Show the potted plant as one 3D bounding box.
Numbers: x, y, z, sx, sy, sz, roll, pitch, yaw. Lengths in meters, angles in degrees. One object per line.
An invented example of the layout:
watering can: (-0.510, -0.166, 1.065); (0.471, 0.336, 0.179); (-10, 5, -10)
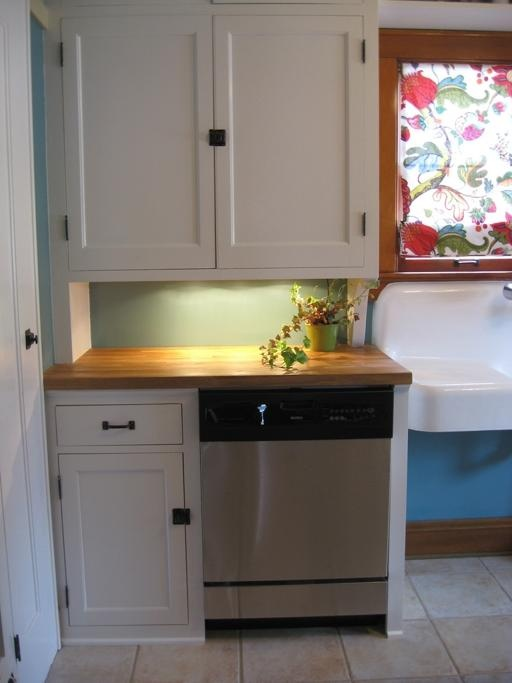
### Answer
potted plant: (0.199, -0.086, 1.923); (0.385, 0.258, 0.542); (0, 7, 8)

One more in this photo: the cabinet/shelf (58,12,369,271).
cabinet/shelf: (-0.152, -0.651, 1.737); (0.609, 0.609, 0.257); (-1, 6, -2)
